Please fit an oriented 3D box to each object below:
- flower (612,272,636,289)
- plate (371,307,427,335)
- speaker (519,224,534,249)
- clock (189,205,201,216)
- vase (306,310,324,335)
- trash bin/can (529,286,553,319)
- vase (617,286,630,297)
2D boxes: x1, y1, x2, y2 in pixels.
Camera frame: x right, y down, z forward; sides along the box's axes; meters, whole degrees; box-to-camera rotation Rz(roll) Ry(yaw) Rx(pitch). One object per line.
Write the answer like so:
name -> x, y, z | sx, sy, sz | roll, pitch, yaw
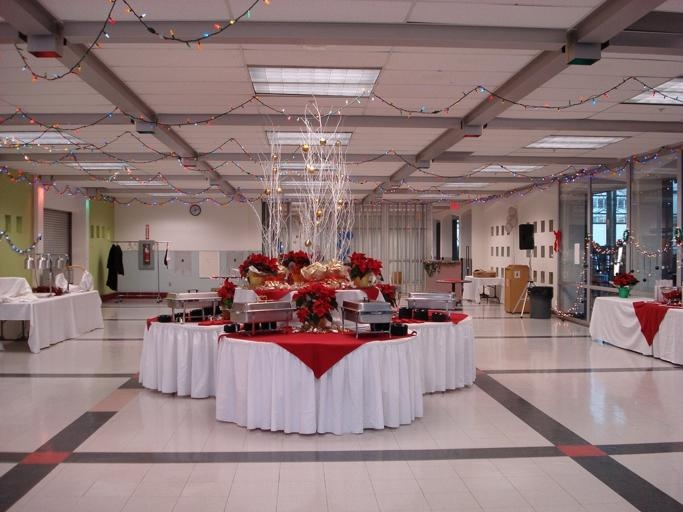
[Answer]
flower -> 5.368, 0.472, 9.719 | 0.317, 0.226, 0.333 | 1, 3, -14
plate -> 0.673, 0.774, 6.023 | 0.412, 0.109, 0.407 | 2, 3, 37
speaker -> 4.893, -0.517, 13.651 | 0.358, 0.657, 0.734 | 1, 4, 17
clock -> -5.118, -1.594, 17.988 | 0.406, 0.443, 0.105 | -1, 5, -16
vase -> -0.284, 0.769, 5.802 | 0.208, 0.256, 0.192 | 2, -6, -1
trash bin/can -> 4.913, 1.184, 12.915 | 0.762, 0.831, 0.695 | 1, -6, -2
vase -> 5.419, 0.681, 9.846 | 0.222, 0.178, 0.209 | 3, -1, 5
